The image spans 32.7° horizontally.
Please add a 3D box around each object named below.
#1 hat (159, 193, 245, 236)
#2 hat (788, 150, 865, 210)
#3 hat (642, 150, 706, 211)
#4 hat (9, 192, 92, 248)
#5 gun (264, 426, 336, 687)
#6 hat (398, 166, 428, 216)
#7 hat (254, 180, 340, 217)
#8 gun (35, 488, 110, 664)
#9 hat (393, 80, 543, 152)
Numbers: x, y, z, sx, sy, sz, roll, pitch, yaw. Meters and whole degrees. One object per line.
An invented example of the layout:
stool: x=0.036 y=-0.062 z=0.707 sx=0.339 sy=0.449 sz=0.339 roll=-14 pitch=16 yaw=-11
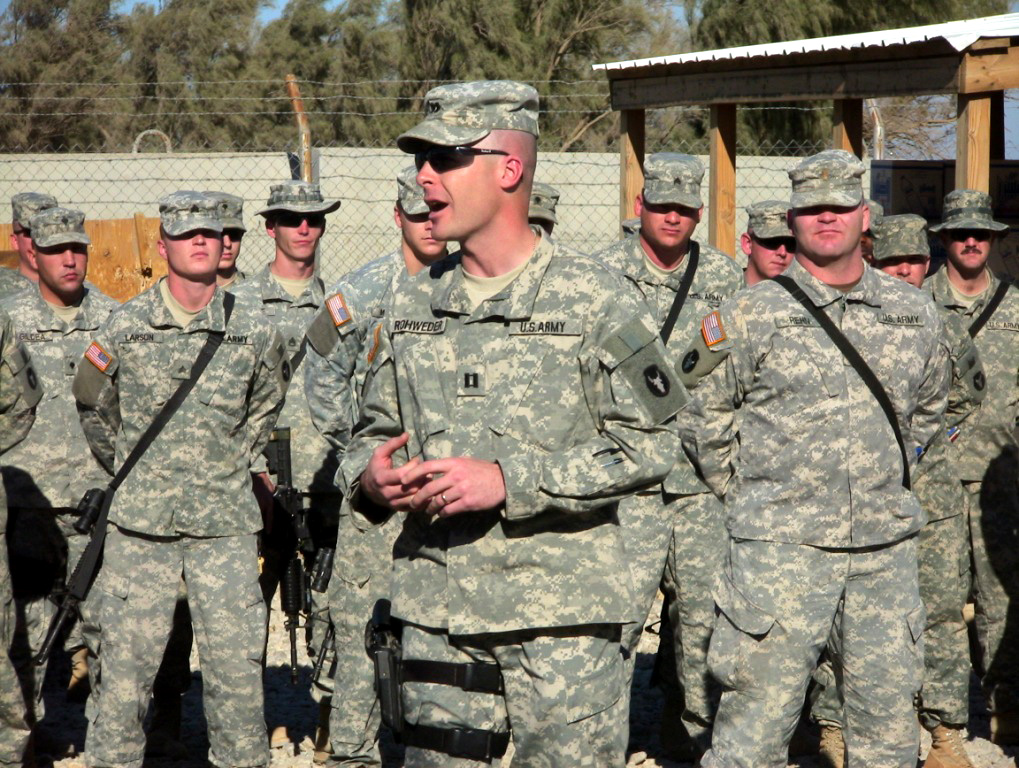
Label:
hat: x=-1.697 y=-0.921 z=9.344 sx=0.401 sy=0.176 sz=0.552 roll=-1 pitch=5 yaw=-10
hat: x=1.562 y=-1.000 z=8.516 sx=0.363 sy=0.291 sz=0.241 roll=-1 pitch=7 yaw=8
hat: x=0.914 y=-1.123 z=9.685 sx=0.339 sy=0.321 sz=0.360 roll=-1 pitch=7 yaw=4
hat: x=-2.748 y=-0.974 z=10.329 sx=0.349 sy=0.156 sz=0.478 roll=2 pitch=19 yaw=-34
gun: x=-1.119 y=0.945 z=9.609 sx=0.388 sy=1.391 sz=0.871 roll=-3 pitch=7 yaw=-7
hat: x=-0.512 y=-1.017 z=9.147 sx=0.129 sy=0.269 sz=0.388 roll=-4 pitch=7 yaw=-14
hat: x=-1.389 y=-1.245 z=11.593 sx=0.750 sy=0.262 sz=0.822 roll=-2 pitch=3 yaw=-1
gun: x=-2.318 y=1.018 z=9.225 sx=0.354 sy=1.027 sz=0.672 roll=-6 pitch=8 yaw=-31
hat: x=-0.178 y=-1.152 z=7.387 sx=0.461 sy=0.171 sz=0.332 roll=-6 pitch=5 yaw=-25
